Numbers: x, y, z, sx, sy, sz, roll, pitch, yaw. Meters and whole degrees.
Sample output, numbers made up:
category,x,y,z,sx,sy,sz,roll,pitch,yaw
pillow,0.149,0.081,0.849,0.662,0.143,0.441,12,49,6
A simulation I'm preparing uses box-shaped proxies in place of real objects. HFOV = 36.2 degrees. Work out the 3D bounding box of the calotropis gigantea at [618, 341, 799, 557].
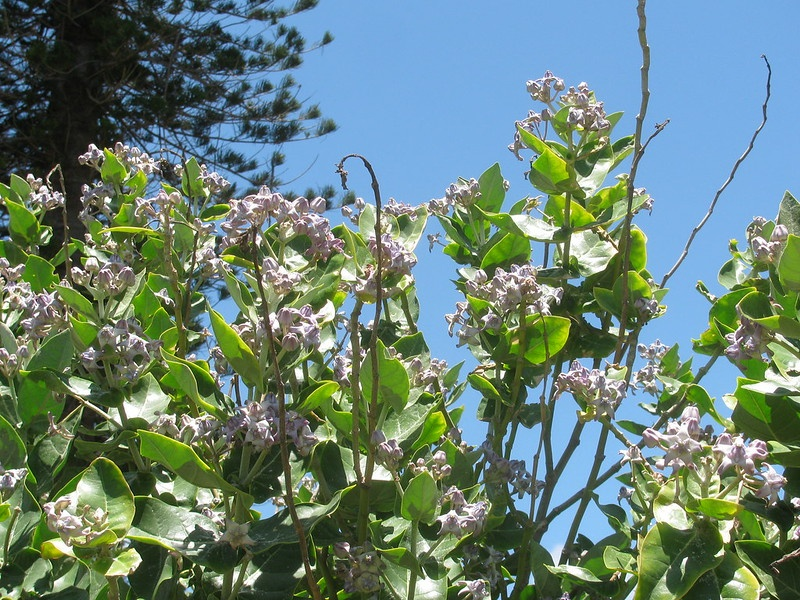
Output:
category,x,y,z,sx,sy,sz,roll,pitch,yaw
calotropis gigantea,1.259,0.552,4.895,0.680,1.145,0.658,4,-48,14
